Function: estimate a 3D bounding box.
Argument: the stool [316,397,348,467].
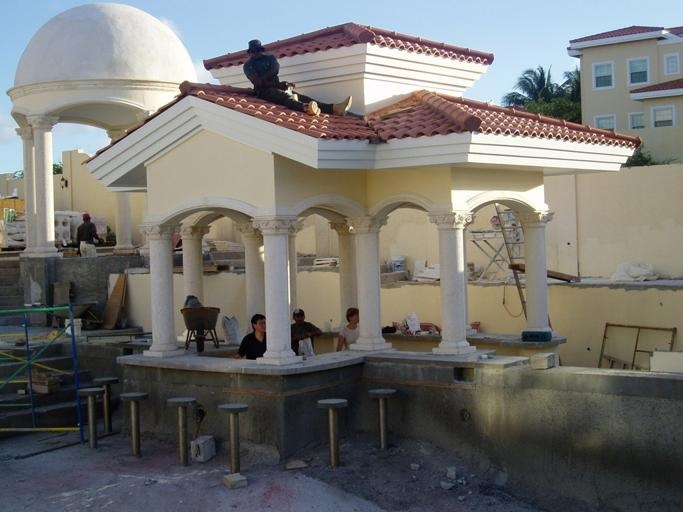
[{"bbox_3d":[-0.171,3.209,13.804,0.514,1.275,0.446,1,2,13],"label":"stool"}]

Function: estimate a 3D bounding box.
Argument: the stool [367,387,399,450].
[{"bbox_3d":[0.757,3.140,14.454,0.456,1.155,0.530,1,2,-43],"label":"stool"}]

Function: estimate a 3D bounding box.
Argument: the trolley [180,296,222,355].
[{"bbox_3d":[-3.248,1.524,16.928,0.769,1.333,0.671,8,4,40],"label":"trolley"}]
